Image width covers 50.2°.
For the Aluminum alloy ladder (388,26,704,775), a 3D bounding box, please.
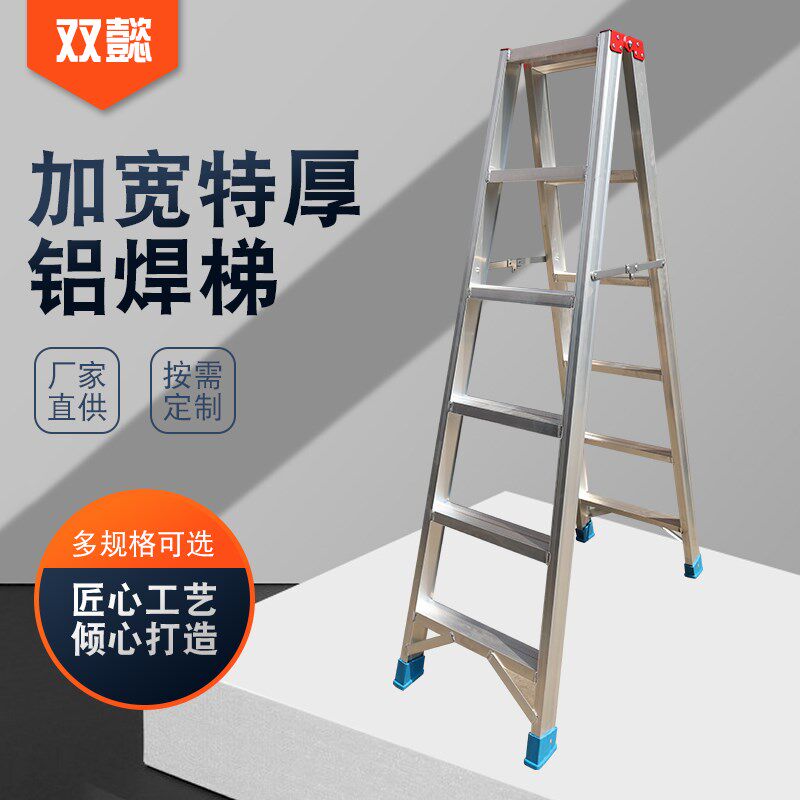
[{"bbox_3d":[0.416,-0.117,2.360,0.534,1.681,1.096,9,17,33],"label":"Aluminum alloy ladder"}]
